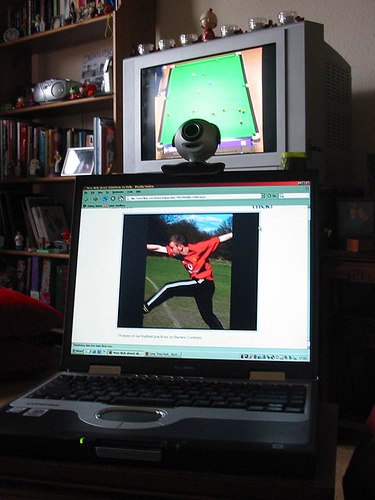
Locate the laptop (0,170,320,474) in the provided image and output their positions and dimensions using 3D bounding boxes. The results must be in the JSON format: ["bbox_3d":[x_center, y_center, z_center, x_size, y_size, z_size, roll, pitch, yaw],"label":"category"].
[{"bbox_3d":[-0.012,0.079,0.538,0.390,0.332,0.328,0,1,14],"label":"laptop"}]

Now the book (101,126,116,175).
[{"bbox_3d":[-0.368,-0.474,2.017,0.028,0.235,0.136,4,12,11],"label":"book"}]

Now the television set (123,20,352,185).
[{"bbox_3d":[0.156,-0.492,1.662,0.737,0.472,0.419,4,4,34],"label":"television set"}]

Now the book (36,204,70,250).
[{"bbox_3d":[-0.736,-0.129,2.357,0.053,0.228,0.228,-10,1,12],"label":"book"}]

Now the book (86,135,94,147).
[{"bbox_3d":[-0.505,-0.562,2.236,0.048,0.065,0.066,0,9,-5],"label":"book"}]

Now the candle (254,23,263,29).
[{"bbox_3d":[0.237,-0.753,1.459,0.034,0.024,0.019,0,11,4],"label":"candle"}]

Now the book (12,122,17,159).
[{"bbox_3d":[-0.974,-0.617,2.443,0.037,0.196,0.017,1,8,29],"label":"book"}]

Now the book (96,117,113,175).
[{"bbox_3d":[-0.387,-0.478,2.003,0.045,0.252,0.118,0,8,23],"label":"book"}]
